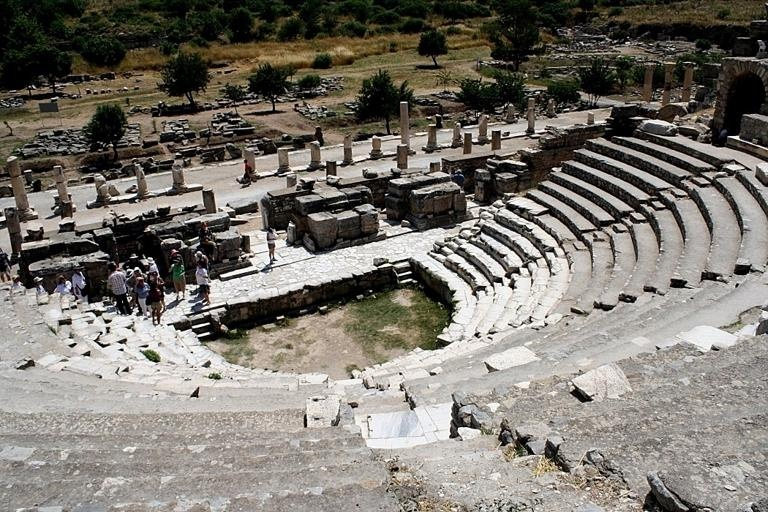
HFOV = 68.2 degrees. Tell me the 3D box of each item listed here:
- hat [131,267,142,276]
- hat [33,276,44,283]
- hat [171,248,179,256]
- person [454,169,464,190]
[{"bbox_3d":[-7.140,0.472,16.329,0.266,0.112,0.313,-5,16,-23],"label":"hat"},{"bbox_3d":[-9.779,0.715,15.985,0.268,0.076,0.241,15,24,35],"label":"hat"},{"bbox_3d":[-6.237,-0.095,16.853,0.235,0.104,0.300,1,-12,-31],"label":"hat"},{"bbox_3d":[3.153,-3.132,23.973,0.489,0.755,1.180,2,28,7],"label":"person"}]
